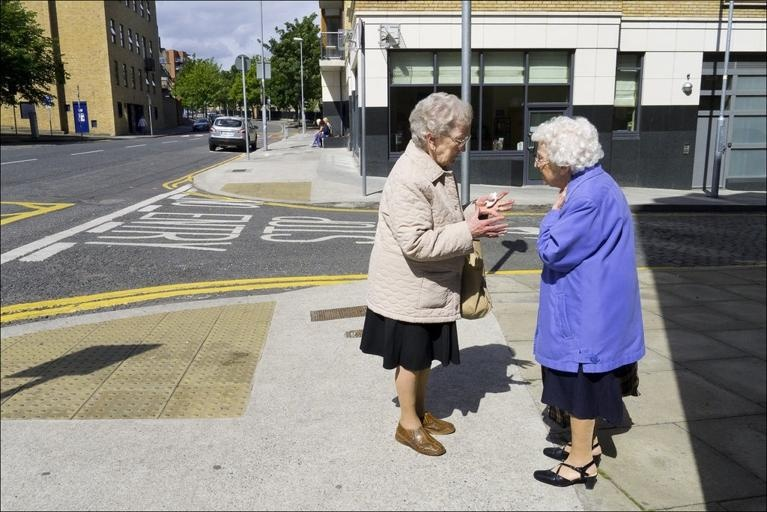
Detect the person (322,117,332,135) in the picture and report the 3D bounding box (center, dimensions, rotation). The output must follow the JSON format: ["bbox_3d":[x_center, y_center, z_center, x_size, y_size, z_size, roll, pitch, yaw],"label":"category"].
[{"bbox_3d":[-3.835,-8.646,35.008,0.426,1.018,1.496,-3,16,-8],"label":"person"}]

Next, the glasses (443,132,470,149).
[{"bbox_3d":[0.506,-0.799,3.599,0.102,0.120,0.272,12,21,38],"label":"glasses"}]

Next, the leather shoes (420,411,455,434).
[{"bbox_3d":[0.400,1.277,4.013,0.314,0.111,0.112,0,15,24],"label":"leather shoes"}]

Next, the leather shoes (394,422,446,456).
[{"bbox_3d":[0.257,1.344,3.791,0.325,0.124,0.161,12,17,22],"label":"leather shoes"}]

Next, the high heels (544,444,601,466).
[{"bbox_3d":[1.319,1.390,3.701,0.356,0.122,0.168,3,8,5],"label":"high heels"}]

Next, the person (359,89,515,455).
[{"bbox_3d":[0.283,0.156,3.675,0.890,2.500,0.586,-6,17,-17],"label":"person"}]

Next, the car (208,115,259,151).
[{"bbox_3d":[-9.153,-7.265,31.972,2.687,2.111,4.846,0,19,-3],"label":"car"}]

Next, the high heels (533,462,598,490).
[{"bbox_3d":[1.197,1.468,3.487,0.363,0.150,0.176,4,3,5],"label":"high heels"}]

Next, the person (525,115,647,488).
[{"bbox_3d":[1.279,0.326,3.395,0.759,2.367,0.603,7,18,26],"label":"person"}]
